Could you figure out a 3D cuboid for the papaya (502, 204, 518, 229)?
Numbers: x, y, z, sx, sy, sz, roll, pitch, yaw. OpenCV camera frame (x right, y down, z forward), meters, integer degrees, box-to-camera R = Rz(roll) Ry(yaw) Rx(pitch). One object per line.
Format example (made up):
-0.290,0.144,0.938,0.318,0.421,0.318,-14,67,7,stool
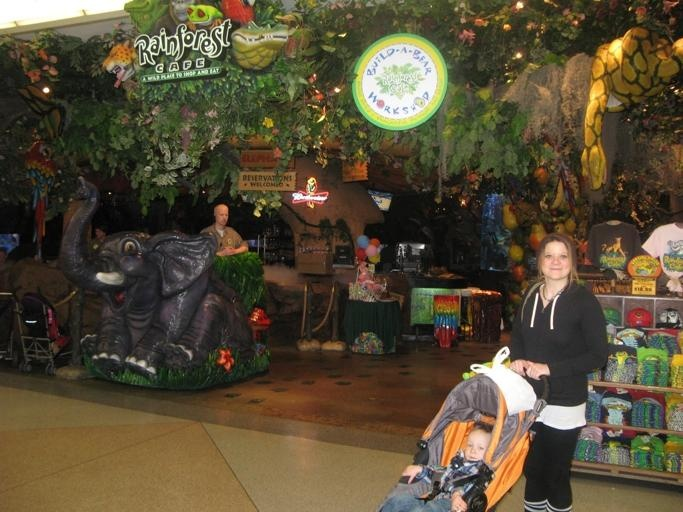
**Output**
3.722,-0.850,12.507,0.217,0.508,0.283,-4,-5,-39,papaya

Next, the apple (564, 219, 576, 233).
4.394,-0.555,10.806,0.211,0.258,0.215,5,7,42,apple

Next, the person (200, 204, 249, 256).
-1.857,-0.354,8.767,0.866,0.864,0.528,-4,6,-39,person

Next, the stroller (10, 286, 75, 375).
-4.811,1.243,9.286,0.916,1.180,1.001,1,1,-20,stroller

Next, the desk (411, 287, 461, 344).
1.982,1.206,11.748,1.041,1.027,0.586,2,-16,10,desk

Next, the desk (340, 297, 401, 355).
0.600,1.354,10.949,1.006,0.893,1.002,3,-4,-23,desk
